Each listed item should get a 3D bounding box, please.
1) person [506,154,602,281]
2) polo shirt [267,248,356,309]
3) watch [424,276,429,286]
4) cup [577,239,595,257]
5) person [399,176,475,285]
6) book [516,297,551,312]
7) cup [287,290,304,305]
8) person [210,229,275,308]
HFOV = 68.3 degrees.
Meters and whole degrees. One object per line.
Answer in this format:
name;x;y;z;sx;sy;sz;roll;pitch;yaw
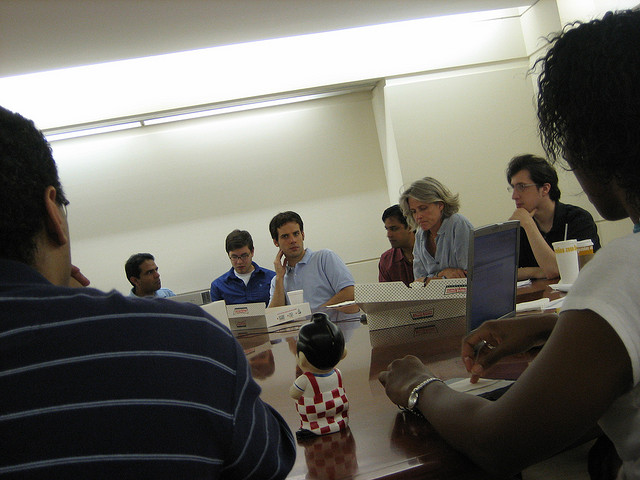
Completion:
person;1.489;-0.118;3.104;0.558;0.824;0.590;-1;3;-21
polo shirt;-0.031;0.227;3.673;0.626;0.450;0.487;2;8;-7
watch;0.456;0.181;2.017;0.007;0.031;0.030;9;11;15
cup;1.252;0.039;2.223;0.081;0.078;0.082;0;-6;0
person;0.868;-0.036;3.396;0.479;0.779;0.557;-5;-5;-21
book;0.800;0.247;1.789;0.075;0.018;0.073;-10;0;-3
cup;-0.148;0.357;2.961;0.090;0.107;0.080;-4;-7;-17
person;-0.758;0.279;4.436;0.515;0.890;0.340;-11;-8;-2
